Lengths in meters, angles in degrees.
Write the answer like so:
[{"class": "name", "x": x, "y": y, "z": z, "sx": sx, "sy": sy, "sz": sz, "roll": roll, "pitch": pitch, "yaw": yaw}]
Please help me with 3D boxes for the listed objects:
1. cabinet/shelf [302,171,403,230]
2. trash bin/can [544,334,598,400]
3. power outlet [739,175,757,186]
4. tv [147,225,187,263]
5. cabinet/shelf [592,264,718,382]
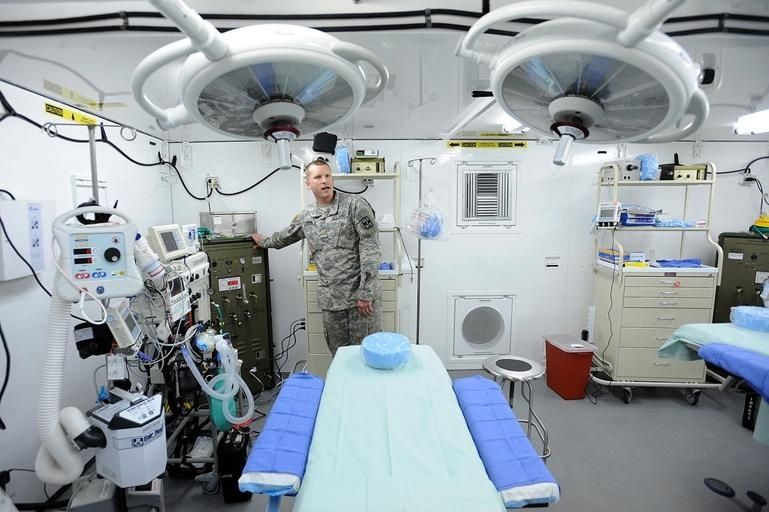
[{"class": "cabinet/shelf", "x": -0.302, "y": -0.515, "z": 4.345, "sx": 0.658, "sy": 0.634, "sz": 0.232, "roll": -2, "pitch": 2, "yaw": -5}, {"class": "trash bin/can", "x": 1.792, "y": 1.064, "z": 4.786, "sx": 0.341, "sy": 0.479, "sz": 0.513, "roll": -1, "pitch": 8, "yaw": -19}, {"class": "power outlet", "x": 3.766, "y": -0.790, "z": 5.004, "sx": 0.153, "sy": 0.116, "sz": 0.034, "roll": -2, "pitch": 9, "yaw": -7}, {"class": "tv", "x": -1.637, "y": -0.091, "z": 3.646, "sx": 0.175, "sy": 0.271, "sz": 0.332, "roll": -8, "pitch": 8, "yaw": 13}, {"class": "cabinet/shelf", "x": 2.614, "y": 0.467, "z": 4.901, "sx": 1.058, "sy": 1.323, "sz": 0.798, "roll": 0, "pitch": 9, "yaw": -2}]
